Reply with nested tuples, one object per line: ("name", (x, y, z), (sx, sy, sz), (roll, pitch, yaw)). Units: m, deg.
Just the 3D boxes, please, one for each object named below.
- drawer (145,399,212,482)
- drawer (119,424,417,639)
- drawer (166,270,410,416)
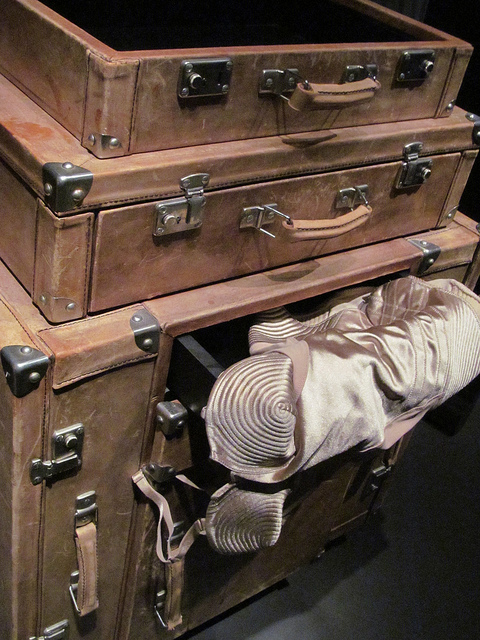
("drawer", (-0.081, 0.149, 0.670), (0.052, 0.092, 0.091), (-12, 46, -27))
("drawer", (0.037, 0.360, 0.856), (0.402, 0.277, 0.250), (-18, 49, -35))
("drawer", (0.058, 0.027, 0.651), (0.166, 0.044, 0.095), (-26, 34, -21))
